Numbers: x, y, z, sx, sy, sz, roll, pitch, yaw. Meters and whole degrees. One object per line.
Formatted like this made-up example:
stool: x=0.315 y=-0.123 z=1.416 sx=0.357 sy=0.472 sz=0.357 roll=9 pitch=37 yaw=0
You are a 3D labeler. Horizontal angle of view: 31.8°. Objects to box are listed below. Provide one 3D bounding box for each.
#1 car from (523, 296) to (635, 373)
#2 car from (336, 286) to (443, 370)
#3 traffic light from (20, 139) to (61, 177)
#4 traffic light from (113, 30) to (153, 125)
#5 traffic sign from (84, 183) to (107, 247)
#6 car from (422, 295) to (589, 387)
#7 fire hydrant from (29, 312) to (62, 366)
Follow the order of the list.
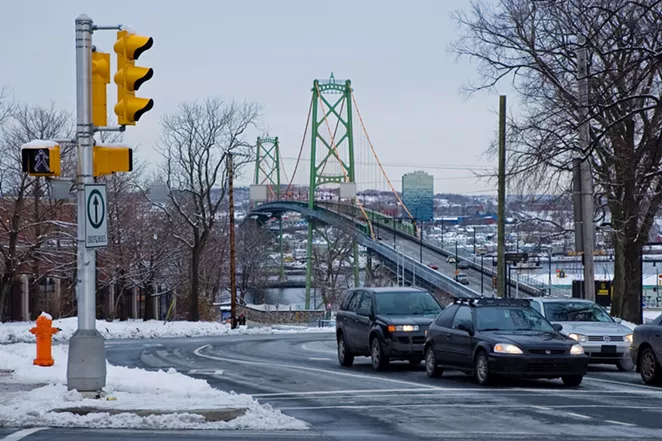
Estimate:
car: x=9.355 y=3.872 z=38.341 sx=3.021 sy=2.526 sz=6.277 roll=1 pitch=2 yaw=5
car: x=2.116 y=3.636 z=39.053 sx=2.890 sy=2.713 sz=5.467 roll=2 pitch=-4 yaw=-18
traffic light: x=-7.630 y=-1.663 z=30.552 sx=0.951 sy=0.940 sz=0.426 roll=1 pitch=-5 yaw=-15
traffic light: x=-5.186 y=-3.698 z=30.316 sx=0.928 sy=2.482 sz=0.532 roll=0 pitch=-4 yaw=-6
traffic sign: x=-6.222 y=-0.136 z=30.764 sx=0.589 sy=1.634 sz=0.546 roll=1 pitch=-1 yaw=-14
car: x=5.138 y=3.616 z=35.808 sx=3.316 sy=2.475 sz=5.540 roll=2 pitch=-3 yaw=-21
fire hydrant: x=-8.979 y=3.690 z=36.568 sx=0.858 sy=1.626 sz=0.880 roll=0 pitch=-2 yaw=-6
